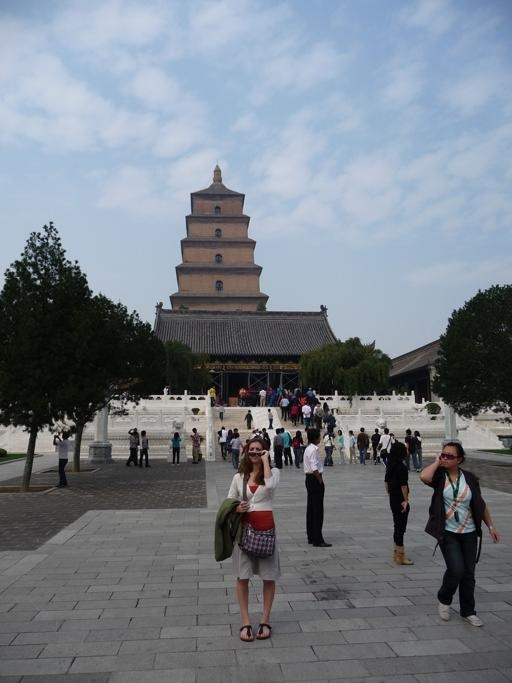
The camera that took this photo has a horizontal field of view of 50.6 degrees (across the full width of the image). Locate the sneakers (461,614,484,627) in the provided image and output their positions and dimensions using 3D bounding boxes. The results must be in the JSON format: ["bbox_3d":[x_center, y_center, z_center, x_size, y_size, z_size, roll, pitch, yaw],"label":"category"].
[{"bbox_3d":[1.555,2.039,3.888,0.080,0.055,0.178,-1,-7,-4],"label":"sneakers"}]

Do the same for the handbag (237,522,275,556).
[{"bbox_3d":[0.009,1.411,3.734,0.253,0.246,0.128,-1,-7,-2],"label":"handbag"}]

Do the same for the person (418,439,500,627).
[{"bbox_3d":[1.493,1.442,4.038,0.513,1.311,0.341,-2,-8,7],"label":"person"}]

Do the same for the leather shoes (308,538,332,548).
[{"bbox_3d":[0.829,2.680,7.071,0.311,0.122,0.103,-2,-4,1],"label":"leather shoes"}]

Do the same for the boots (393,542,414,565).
[{"bbox_3d":[1.612,2.408,6.066,0.203,0.210,0.230,2,-6,-13],"label":"boots"}]

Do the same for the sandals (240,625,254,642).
[{"bbox_3d":[-0.064,1.953,3.585,0.088,0.093,0.157,-1,-7,-1],"label":"sandals"}]

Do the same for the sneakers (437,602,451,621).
[{"bbox_3d":[1.391,2.027,4.021,0.081,0.138,0.181,-3,-8,16],"label":"sneakers"}]
